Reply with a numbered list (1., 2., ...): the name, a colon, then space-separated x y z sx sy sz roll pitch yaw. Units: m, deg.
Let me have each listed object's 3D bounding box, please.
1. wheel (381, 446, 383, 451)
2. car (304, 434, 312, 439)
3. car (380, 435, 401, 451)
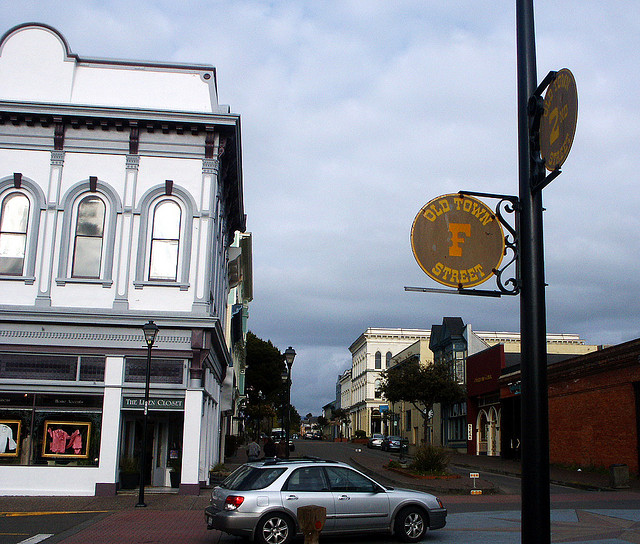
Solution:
1. wheel: 5.266 15.023 61.589 0.232 0.324 0.266 1 -5 5
2. car: -2.641 35.838 157.795 1.775 1.704 3.384 3 -12 -3
3. car: 5.813 13.845 58.866 0.998 0.941 2.492 0 -7 -4
